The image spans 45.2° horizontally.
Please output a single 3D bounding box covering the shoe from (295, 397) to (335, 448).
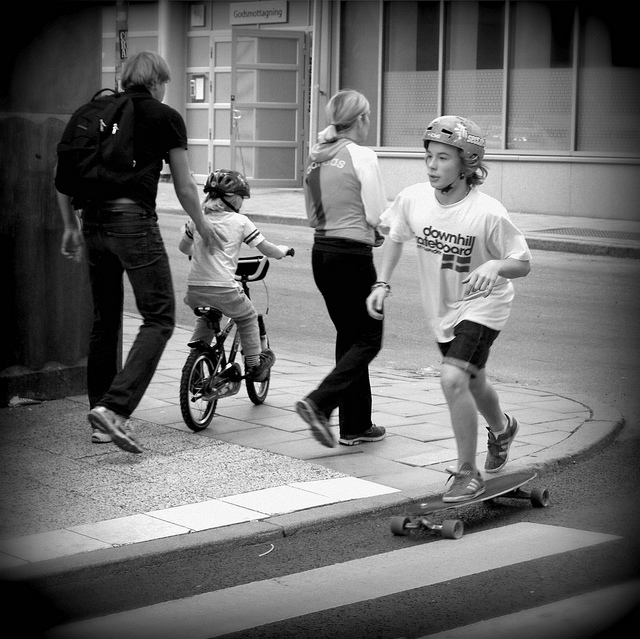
[{"bbox_3d":[-0.031,0.608,4.562,0.109,0.318,0.146,-36,-7,25],"label":"shoe"}]

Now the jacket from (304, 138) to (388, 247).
[{"bbox_3d":[0.159,-0.782,4.744,0.578,0.661,0.306,3,6,15],"label":"jacket"}]

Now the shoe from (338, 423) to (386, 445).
[{"bbox_3d":[0.286,0.743,4.991,0.312,0.136,0.117,-14,20,-22],"label":"shoe"}]

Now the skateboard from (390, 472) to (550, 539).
[{"bbox_3d":[0.710,0.855,3.625,0.770,0.152,0.294,-9,6,-42],"label":"skateboard"}]

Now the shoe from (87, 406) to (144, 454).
[{"bbox_3d":[-1.161,0.632,4.338,0.282,0.287,0.233,-1,6,-17],"label":"shoe"}]

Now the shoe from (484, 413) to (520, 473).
[{"bbox_3d":[1.011,0.727,4.440,0.168,0.385,0.137,10,12,-44],"label":"shoe"}]

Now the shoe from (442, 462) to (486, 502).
[{"bbox_3d":[0.676,0.759,3.635,0.324,0.142,0.130,2,-13,-45],"label":"shoe"}]

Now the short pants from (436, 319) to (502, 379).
[{"bbox_3d":[0.717,0.103,3.798,0.249,0.310,0.441,27,7,8],"label":"short pants"}]

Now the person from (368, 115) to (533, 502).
[{"bbox_3d":[0.678,-0.077,3.849,0.507,1.848,0.805,-2,7,-25],"label":"person"}]

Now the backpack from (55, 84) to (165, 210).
[{"bbox_3d":[-1.256,-1.059,4.695,0.653,0.611,0.465,-2,11,-40],"label":"backpack"}]

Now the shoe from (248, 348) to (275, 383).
[{"bbox_3d":[-0.404,0.337,5.495,0.107,0.140,0.309,-8,30,21],"label":"shoe"}]
